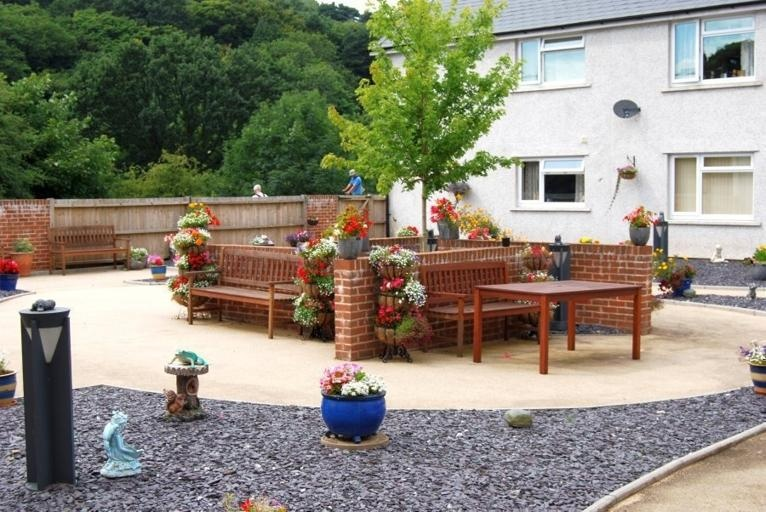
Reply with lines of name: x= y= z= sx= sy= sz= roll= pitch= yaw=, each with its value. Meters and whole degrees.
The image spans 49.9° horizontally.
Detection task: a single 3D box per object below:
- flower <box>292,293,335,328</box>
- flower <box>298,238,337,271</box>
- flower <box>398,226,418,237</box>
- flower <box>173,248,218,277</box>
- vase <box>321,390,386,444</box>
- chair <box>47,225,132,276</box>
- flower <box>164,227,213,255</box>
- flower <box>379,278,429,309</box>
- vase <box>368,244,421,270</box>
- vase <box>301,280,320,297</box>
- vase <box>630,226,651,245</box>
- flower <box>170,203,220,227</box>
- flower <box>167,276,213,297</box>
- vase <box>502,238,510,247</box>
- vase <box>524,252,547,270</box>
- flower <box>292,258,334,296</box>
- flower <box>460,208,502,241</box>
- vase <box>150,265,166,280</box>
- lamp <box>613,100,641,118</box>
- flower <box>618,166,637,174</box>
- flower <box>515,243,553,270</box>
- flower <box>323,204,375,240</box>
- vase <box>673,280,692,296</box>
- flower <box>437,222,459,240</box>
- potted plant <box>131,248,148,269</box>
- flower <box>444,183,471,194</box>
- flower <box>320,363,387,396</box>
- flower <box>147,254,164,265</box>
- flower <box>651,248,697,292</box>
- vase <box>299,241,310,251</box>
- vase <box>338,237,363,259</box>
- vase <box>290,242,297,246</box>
flower: x=-1.175 y=0.905 z=14.164 sx=0.624 sy=0.411 sz=0.607 roll=2 pitch=-1 yaw=5
flower: x=-1.009 y=-0.073 z=13.692 sx=0.556 sy=0.445 sz=0.570 roll=6 pitch=20 yaw=34
flower: x=0.694 y=-0.619 z=20.458 sx=0.483 sy=0.320 sz=0.492 roll=1 pitch=3 yaw=41
flower: x=-3.668 y=0.096 z=16.375 sx=0.640 sy=0.411 sz=0.607 roll=-1 pitch=1 yaw=-9
vase: x=-0.348 y=1.877 z=9.707 sx=0.820 sy=0.525 sz=0.779 roll=2 pitch=-4 yaw=-18
chair: x=-8.609 y=-0.239 z=24.186 sx=2.321 sy=1.389 sz=1.553 roll=-6 pitch=12 yaw=-30
flower: x=-3.892 y=-0.332 z=16.323 sx=0.622 sy=0.402 sz=0.641 roll=-4 pitch=1 yaw=40
flower: x=0.399 y=0.599 z=12.750 sx=0.520 sy=0.212 sz=0.525 roll=22 pitch=8 yaw=33
vase: x=0.193 y=0.010 z=12.804 sx=0.499 sy=0.215 sz=0.484 roll=3 pitch=4 yaw=24
vase: x=-1.200 y=0.526 z=13.840 sx=0.292 sy=0.211 sz=0.300 roll=1 pitch=0 yaw=-3
vase: x=5.167 y=-0.413 z=16.470 sx=0.413 sy=0.312 sz=0.414 roll=3 pitch=-2 yaw=29
flower: x=-3.909 y=-0.836 z=17.067 sx=1.085 sy=0.587 sz=1.106 roll=-2 pitch=7 yaw=-34
flower: x=-3.841 y=0.544 z=15.980 sx=0.510 sy=0.269 sz=0.506 roll=1 pitch=0 yaw=25
vase: x=2.329 y=-0.277 z=15.605 sx=0.162 sy=0.113 sz=0.158 roll=0 pitch=3 yaw=28
vase: x=2.811 y=0.073 z=15.081 sx=0.323 sy=0.212 sz=0.305 roll=1 pitch=-5 yaw=-8
flower: x=-1.153 y=0.342 z=13.745 sx=0.644 sy=0.406 sz=0.613 roll=3 pitch=-1 yaw=-33
flower: x=2.644 y=-0.864 z=22.094 sx=1.096 sy=0.661 sz=1.244 roll=10 pitch=11 yaw=36
vase: x=-5.859 y=0.403 z=21.544 sx=0.408 sy=0.276 sz=0.393 roll=1 pitch=1 yaw=6
lamp: x=7.377 y=-4.464 z=24.866 sx=0.738 sy=0.559 sz=0.281 roll=8 pitch=14 yaw=37
flower: x=7.390 y=-2.633 z=24.885 sx=0.532 sy=0.220 sz=0.357 roll=4 pitch=11 yaw=18
flower: x=2.810 y=-0.020 z=15.274 sx=0.508 sy=0.462 sz=0.496 roll=0 pitch=-8 yaw=-8
flower: x=-0.594 y=-0.521 z=13.309 sx=0.801 sy=0.522 sz=0.778 roll=-5 pitch=8 yaw=-41
vase: x=6.618 y=0.677 z=18.172 sx=0.376 sy=0.261 sz=0.357 roll=-2 pitch=4 yaw=-16
flower: x=1.506 y=-0.604 z=18.931 sx=0.430 sy=0.324 sz=0.457 roll=0 pitch=-1 yaw=-16
potted plant: x=-7.303 y=0.040 z=24.686 sx=0.737 sy=0.674 sz=0.523 roll=0 pitch=0 yaw=-18
flower: x=2.414 y=-2.222 z=26.474 sx=0.930 sy=0.254 sz=1.022 roll=1 pitch=1 yaw=-18
flower: x=-0.417 y=1.443 z=9.606 sx=0.451 sy=0.263 sz=0.495 roll=-2 pitch=2 yaw=-28
flower: x=-5.927 y=0.088 z=21.481 sx=0.425 sy=0.286 sz=0.443 roll=0 pitch=1 yaw=-40
flower: x=6.680 y=0.324 z=18.939 sx=0.939 sy=0.941 sz=0.875 roll=-8 pitch=-2 yaw=-34
vase: x=-1.330 y=-0.176 z=14.001 sx=0.293 sy=0.125 sz=0.312 roll=-1 pitch=2 yaw=-2
vase: x=-0.505 y=-0.150 z=13.078 sx=0.352 sy=0.238 sz=0.336 roll=0 pitch=-1 yaw=-23
vase: x=-2.078 y=-0.301 z=19.279 sx=0.131 sy=0.087 sz=0.125 roll=1 pitch=1 yaw=-7
